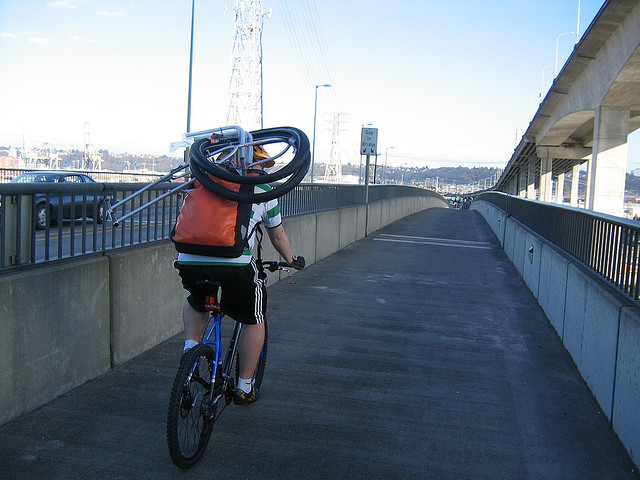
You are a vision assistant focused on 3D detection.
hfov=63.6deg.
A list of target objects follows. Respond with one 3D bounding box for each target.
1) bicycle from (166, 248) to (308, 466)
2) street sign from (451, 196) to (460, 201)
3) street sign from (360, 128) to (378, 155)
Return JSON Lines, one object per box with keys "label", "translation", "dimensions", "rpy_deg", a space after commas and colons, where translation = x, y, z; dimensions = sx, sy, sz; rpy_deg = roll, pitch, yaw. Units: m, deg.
{"label": "bicycle", "translation": [-0.835, 0.777, 4.038], "dimensions": [0.801, 1.093, 1.705], "rpy_deg": [10, 21, 13]}
{"label": "street sign", "translation": [36.146, -11.260, 138.347], "dimensions": [2.399, 0.666, 2.684], "rpy_deg": [1, 4, 9]}
{"label": "street sign", "translation": [1.776, -3.620, 18.862], "dimensions": [0.571, 0.982, 0.871], "rpy_deg": [3, 7, 2]}
